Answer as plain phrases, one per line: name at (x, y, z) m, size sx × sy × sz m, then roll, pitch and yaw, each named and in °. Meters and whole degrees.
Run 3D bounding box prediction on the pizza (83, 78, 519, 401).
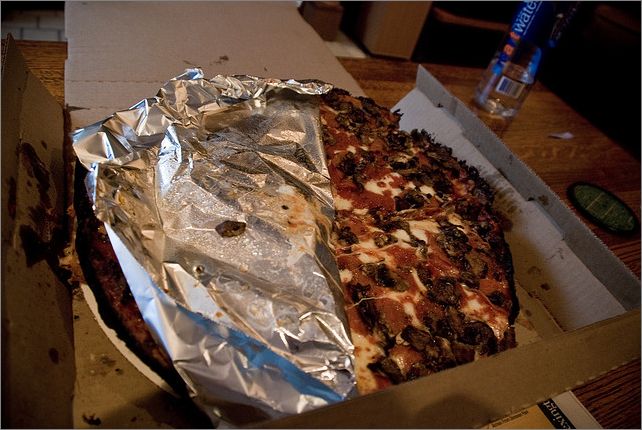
pizza at (0.002, -0.008, 1.365) m, size 1.022 × 0.369 × 0.938 m, roll -17°, pitch 46°, yaw -30°
